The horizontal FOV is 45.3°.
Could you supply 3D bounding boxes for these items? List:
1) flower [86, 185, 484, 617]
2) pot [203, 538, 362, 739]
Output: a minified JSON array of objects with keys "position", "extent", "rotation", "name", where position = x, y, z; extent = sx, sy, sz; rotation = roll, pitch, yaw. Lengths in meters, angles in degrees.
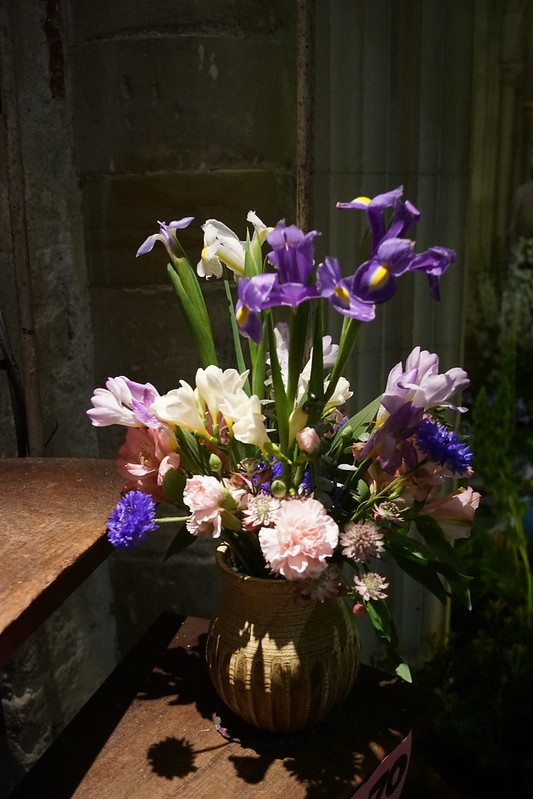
[{"position":[0.036,-0.004,0.692],"extent":[0.389,0.413,0.358],"rotation":[-7,12,-27],"name":"flower"},{"position":[0.011,0.230,0.606],"extent":[0.133,0.153,0.134],"rotation":[1,7,0],"name":"pot"}]
